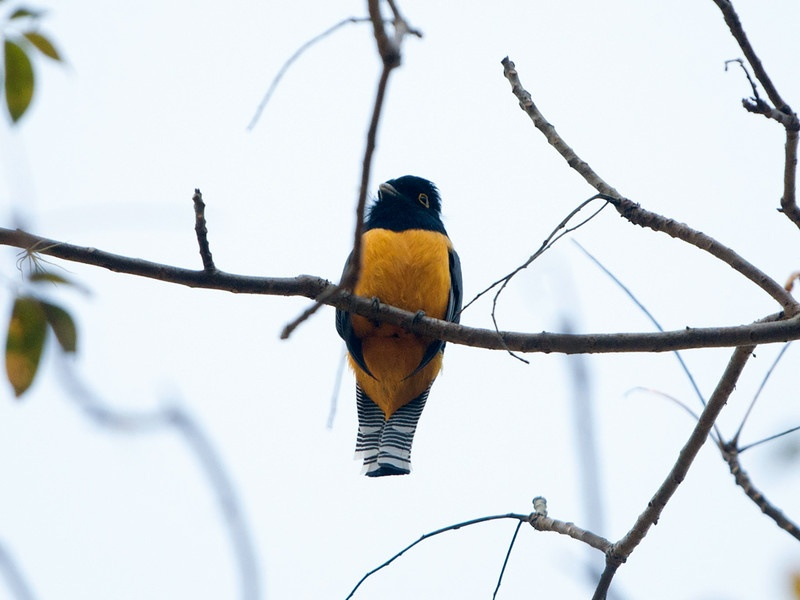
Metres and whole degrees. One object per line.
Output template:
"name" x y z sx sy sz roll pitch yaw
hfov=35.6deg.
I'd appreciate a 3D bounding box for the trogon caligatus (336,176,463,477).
"trogon caligatus" 0.001 0.132 7.333 0.583 0.811 2.046 2 -79 3
